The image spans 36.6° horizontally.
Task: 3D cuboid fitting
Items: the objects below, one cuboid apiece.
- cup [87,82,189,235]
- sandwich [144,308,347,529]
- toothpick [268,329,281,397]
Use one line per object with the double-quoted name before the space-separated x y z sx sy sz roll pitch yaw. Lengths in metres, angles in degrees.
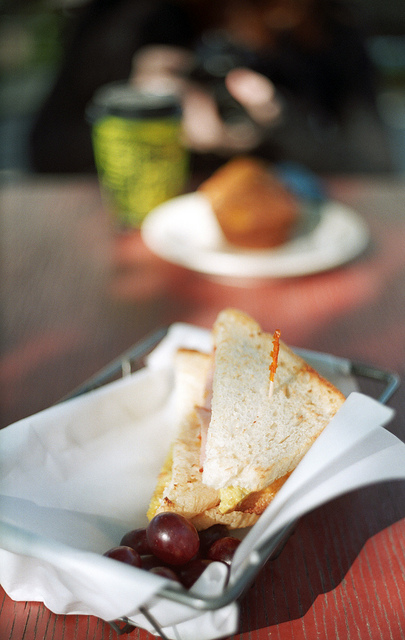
"cup" -0.076 -0.204 0.713 0.111 0.172 0.109 1 55 -1
"sandwich" 0.029 0.067 0.437 0.132 0.115 0.176 3 19 14
"toothpick" 0.049 0.029 0.423 0.009 0.004 0.047 6 83 3
